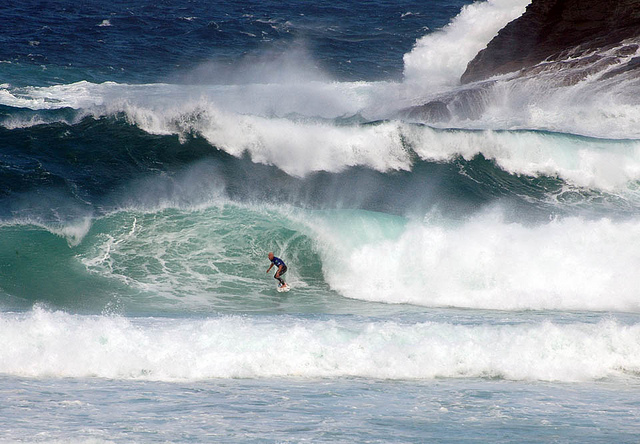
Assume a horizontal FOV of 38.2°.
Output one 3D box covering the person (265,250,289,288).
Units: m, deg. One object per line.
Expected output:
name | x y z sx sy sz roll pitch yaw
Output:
person | -1.642 1.703 34.407 0.851 1.412 1.256 -1 15 -3

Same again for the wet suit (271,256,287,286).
wet suit | -1.536 1.770 34.310 0.570 1.058 0.702 0 15 -1
